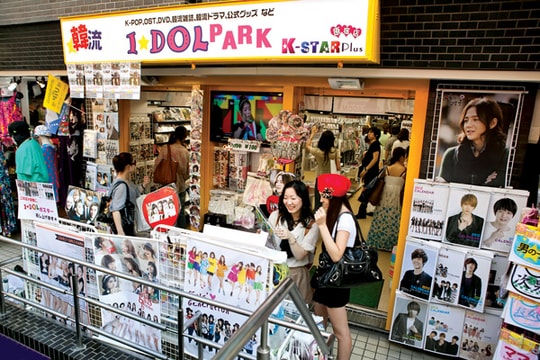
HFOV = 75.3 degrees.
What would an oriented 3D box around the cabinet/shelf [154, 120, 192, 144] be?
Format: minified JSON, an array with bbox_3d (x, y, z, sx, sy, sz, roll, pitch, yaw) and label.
[{"bbox_3d":[-2.204,-1.083,7.837,0.250,0.736,0.786,0,6,44],"label":"cabinet/shelf"}]

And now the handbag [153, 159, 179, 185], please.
[{"bbox_3d":[-1.863,-0.167,6.345,0.371,0.471,0.193,9,11,-4],"label":"handbag"}]

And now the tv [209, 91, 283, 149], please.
[{"bbox_3d":[-0.349,-1.062,5.928,1.035,0.644,0.107,6,6,19],"label":"tv"}]

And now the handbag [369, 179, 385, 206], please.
[{"bbox_3d":[2.043,0.229,6.677,0.182,0.468,0.365,23,18,-6],"label":"handbag"}]

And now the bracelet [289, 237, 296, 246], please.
[{"bbox_3d":[0.256,0.676,3.877,0.067,0.044,0.080,0,3,0],"label":"bracelet"}]

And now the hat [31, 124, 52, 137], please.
[{"bbox_3d":[-4.344,-0.943,6.693,0.228,0.173,0.318,-6,27,-46],"label":"hat"}]

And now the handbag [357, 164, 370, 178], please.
[{"bbox_3d":[2.043,-0.217,7.743,0.072,0.244,0.180,29,-1,24],"label":"handbag"}]

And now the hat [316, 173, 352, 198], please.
[{"bbox_3d":[0.700,0.056,3.850,0.320,0.179,0.228,11,36,12],"label":"hat"}]

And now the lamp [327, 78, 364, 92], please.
[{"bbox_3d":[1.025,-1.301,4.686,0.449,0.128,0.292,7,12,18],"label":"lamp"}]

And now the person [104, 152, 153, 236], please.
[{"bbox_3d":[-2.220,0.228,5.449,0.620,1.880,0.738,-9,31,-31],"label":"person"}]

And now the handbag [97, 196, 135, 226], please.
[{"bbox_3d":[-2.210,0.434,5.076,0.420,0.398,0.234,1,-7,9],"label":"handbag"}]
